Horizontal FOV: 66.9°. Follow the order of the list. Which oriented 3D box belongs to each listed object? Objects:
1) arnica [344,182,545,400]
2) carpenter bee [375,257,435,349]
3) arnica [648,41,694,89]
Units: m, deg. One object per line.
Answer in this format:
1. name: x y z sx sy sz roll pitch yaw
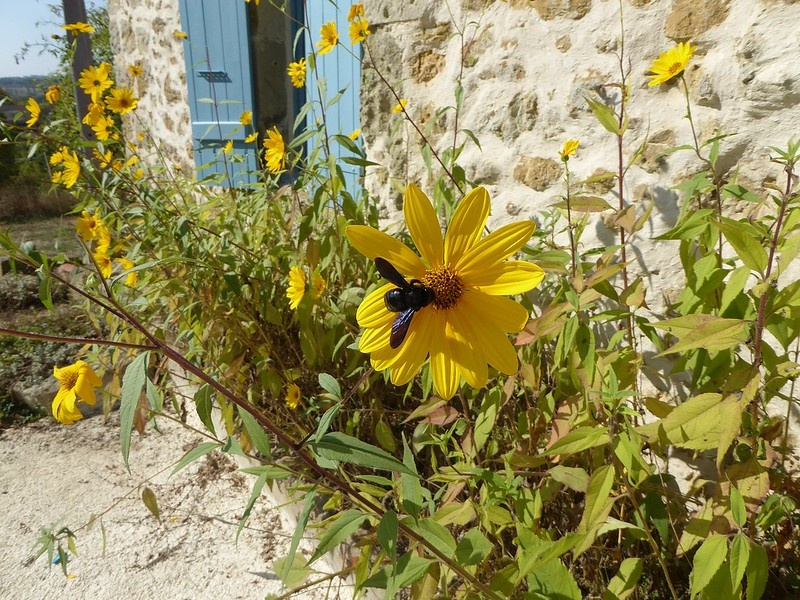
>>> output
1. arnica: 0.054 -0.046 1.673 0.407 0.608 0.543 -1 14 -10
2. carpenter bee: 0.004 0.003 1.586 0.143 0.237 0.144 -2 12 -16
3. arnica: 0.862 -0.763 1.915 0.106 0.051 0.121 -8 -5 17
